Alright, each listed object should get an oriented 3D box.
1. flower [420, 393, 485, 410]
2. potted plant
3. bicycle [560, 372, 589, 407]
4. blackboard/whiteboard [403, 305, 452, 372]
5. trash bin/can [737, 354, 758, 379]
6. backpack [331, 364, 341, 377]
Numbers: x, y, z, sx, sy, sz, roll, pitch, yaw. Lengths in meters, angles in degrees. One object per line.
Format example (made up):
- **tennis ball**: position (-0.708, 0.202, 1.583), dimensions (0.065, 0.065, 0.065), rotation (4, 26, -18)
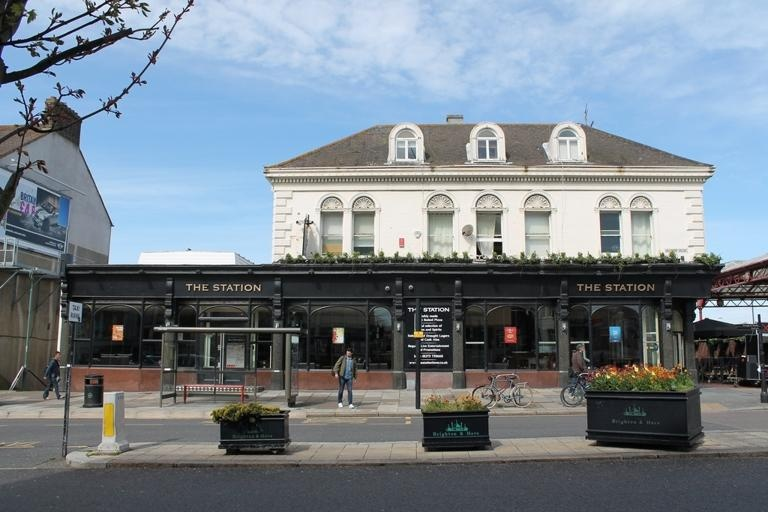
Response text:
- **flower**: position (2.065, 4.366, 22.511), dimensions (1.791, 0.304, 0.721), rotation (-1, 12, -3)
- **potted plant**: position (-3.866, 5.108, 22.320), dimensions (2.074, 1.504, 0.555), rotation (-1, 14, 0)
- **bicycle**: position (7.599, 5.366, 30.206), dimensions (0.933, 1.267, 1.434), rotation (3, 13, 16)
- **blackboard/whiteboard**: position (2.183, 3.882, 34.978), dimensions (1.927, 3.185, 1.193), rotation (1, 8, 3)
- **trash bin/can**: position (18.299, 5.552, 37.956), dimensions (0.668, 1.293, 1.546), rotation (0, 12, 3)
- **backpack**: position (-1.925, 4.632, 30.547), dimensions (0.449, 0.531, 0.203), rotation (-1, -7, 9)
